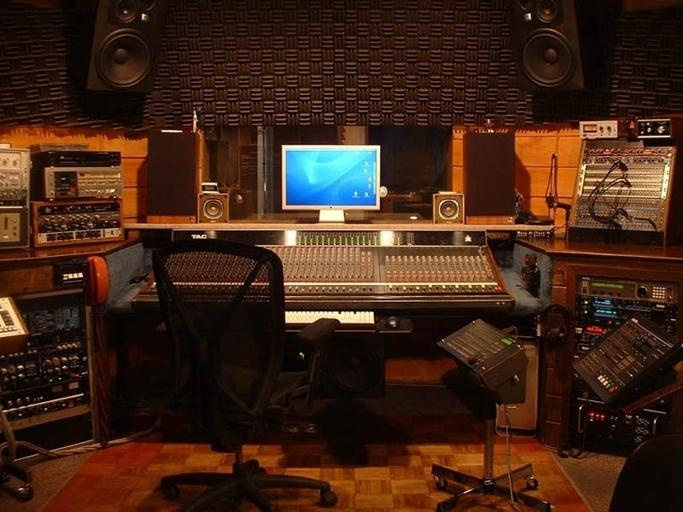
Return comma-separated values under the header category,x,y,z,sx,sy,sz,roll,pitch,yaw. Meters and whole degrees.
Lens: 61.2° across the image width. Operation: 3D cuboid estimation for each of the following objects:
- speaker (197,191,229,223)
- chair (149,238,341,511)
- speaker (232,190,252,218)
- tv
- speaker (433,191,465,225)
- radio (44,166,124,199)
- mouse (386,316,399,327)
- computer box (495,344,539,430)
category,x,y,z,sx,sy,sz,roll,pitch,yaw
speaker,-0.828,-0.304,3.898,0.242,0.250,0.179,0,1,-4
chair,-0.491,0.598,2.693,0.704,1.381,0.434,-1,7,-2
speaker,-0.707,-0.372,4.090,0.107,0.225,0.199,1,1,19
tv,-0.069,-0.508,3.846,0.502,0.394,0.150,0,-1,0
speaker,0.707,-0.316,3.787,0.197,0.200,0.057,-1,7,-2
radio,-1.557,-0.449,3.510,0.439,0.193,0.041,-6,9,-36
mouse,0.289,0.364,3.220,0.048,0.031,0.050,6,8,18
computer box,1.057,0.695,3.510,0.179,0.377,0.200,10,4,24
